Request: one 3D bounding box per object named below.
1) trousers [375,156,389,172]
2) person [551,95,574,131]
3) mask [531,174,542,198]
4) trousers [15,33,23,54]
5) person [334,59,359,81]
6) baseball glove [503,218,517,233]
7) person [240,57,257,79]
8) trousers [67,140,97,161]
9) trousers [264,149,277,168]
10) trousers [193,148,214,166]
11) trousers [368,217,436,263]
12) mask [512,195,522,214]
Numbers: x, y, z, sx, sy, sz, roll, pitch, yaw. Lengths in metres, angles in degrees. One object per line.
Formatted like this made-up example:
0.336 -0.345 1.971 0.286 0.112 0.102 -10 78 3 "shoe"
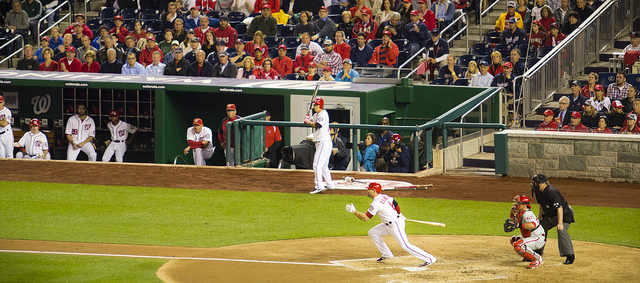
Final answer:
2.701 1.005 42.417 0.605 0.542 0.211 2 -2 -34 "trousers"
10.577 -1.227 43.037 0.819 1.487 1.454 1 -2 12 "person"
7.948 1.600 36.304 0.310 0.654 0.493 1 -2 -6 "mask"
-15.115 -4.975 49.872 0.372 1.045 0.668 2 -2 -22 "trousers"
1.273 -3.289 45.549 1.073 0.980 0.468 1 -2 5 "person"
6.960 3.072 36.045 0.493 0.455 0.363 0 -2 30 "baseball glove"
-3.224 -3.425 46.065 0.659 0.993 0.387 0 -2 42 "person"
-10.967 0.462 45.609 1.007 1.059 0.355 1 16 -6 "trousers"
-2.102 0.750 44.116 0.401 0.814 1.125 1 -2 8 "trousers"
-5.163 0.678 44.146 0.831 0.741 0.551 1 -2 -5 "trousers"
2.940 3.536 36.041 1.290 1.867 3.266 15 -13 -39 "trousers"
7.203 2.332 36.077 0.253 0.621 0.379 2 -2 -11 "mask"
